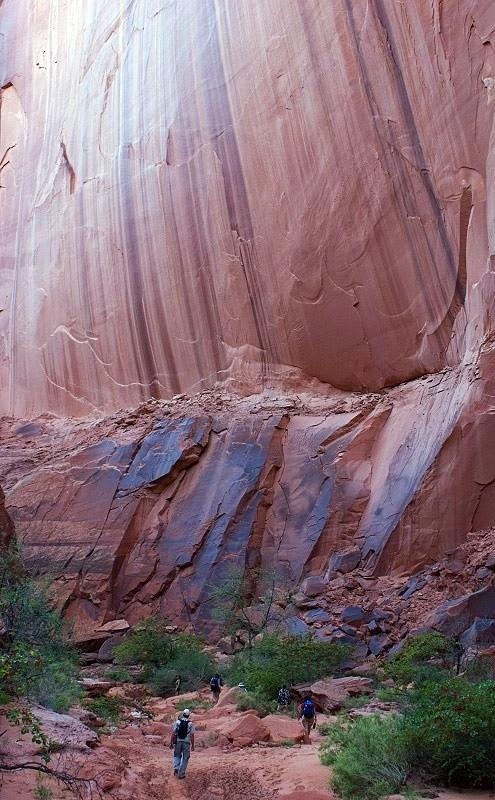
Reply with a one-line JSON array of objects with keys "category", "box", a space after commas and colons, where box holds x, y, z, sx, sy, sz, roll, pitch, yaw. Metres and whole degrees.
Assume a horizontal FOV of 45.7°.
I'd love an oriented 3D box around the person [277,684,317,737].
[{"category": "person", "box": [0.574, 3.618, 6.856, 0.357, 0.487, 0.795, 0, -14, 4]}]
